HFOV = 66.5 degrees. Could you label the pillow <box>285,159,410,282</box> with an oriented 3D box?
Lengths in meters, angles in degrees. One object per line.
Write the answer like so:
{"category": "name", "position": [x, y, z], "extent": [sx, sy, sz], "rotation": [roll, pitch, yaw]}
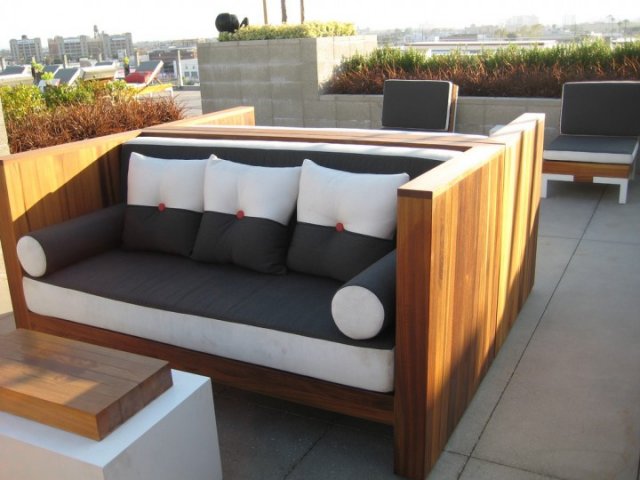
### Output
{"category": "pillow", "position": [0.134, -0.074, 2.293], "extent": [0.477, 0.469, 0.254], "rotation": [11, 23, 31]}

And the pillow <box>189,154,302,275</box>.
{"category": "pillow", "position": [-0.385, -0.112, 2.598], "extent": [0.526, 0.490, 0.284], "rotation": [9, 16, 21]}
